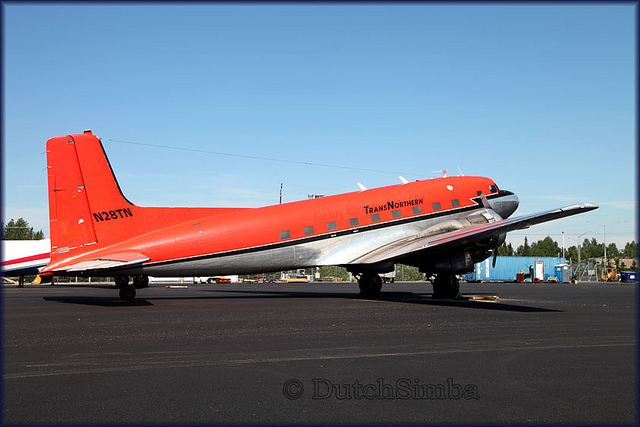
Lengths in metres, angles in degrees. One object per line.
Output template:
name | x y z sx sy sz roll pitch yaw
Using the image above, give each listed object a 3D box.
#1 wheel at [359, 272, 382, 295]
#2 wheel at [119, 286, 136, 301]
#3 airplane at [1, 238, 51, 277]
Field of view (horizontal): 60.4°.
wheel | 2.885 3.499 28.010 1.602 0.983 1.240 0 -1 9
wheel | -8.437 3.450 23.942 0.604 0.645 0.399 1 -4 -17
airplane | -25.219 3.704 46.574 5.608 1.853 7.114 -2 3 -33
